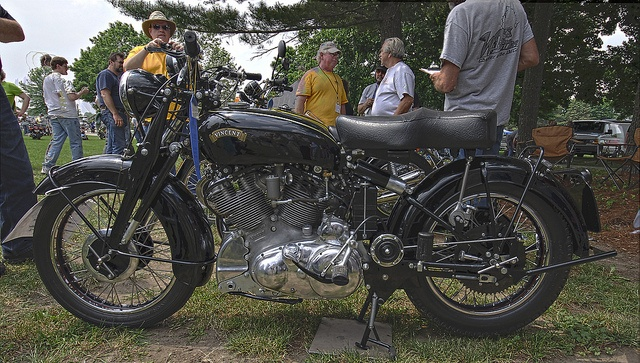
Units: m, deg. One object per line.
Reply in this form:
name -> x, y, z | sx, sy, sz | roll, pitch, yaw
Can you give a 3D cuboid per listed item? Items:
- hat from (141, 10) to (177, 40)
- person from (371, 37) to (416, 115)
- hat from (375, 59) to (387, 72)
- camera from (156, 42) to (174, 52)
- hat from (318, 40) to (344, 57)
hat -> -2.383, -2.373, 7.194 | 0.472, 0.232, 0.471 | 0, -29, -12
person -> 1.155, -1.628, 7.693 | 0.653, 1.209, 0.896 | -9, 16, -13
hat -> 1.124, -2.123, 9.043 | 0.229, 0.125, 0.319 | 4, -10, 3
camera -> -1.822, -1.580, 5.734 | 0.167, 0.051, 0.129 | 5, 7, 36
hat -> 0.104, -2.287, 8.352 | 0.340, 0.172, 0.245 | -1, 0, 39
